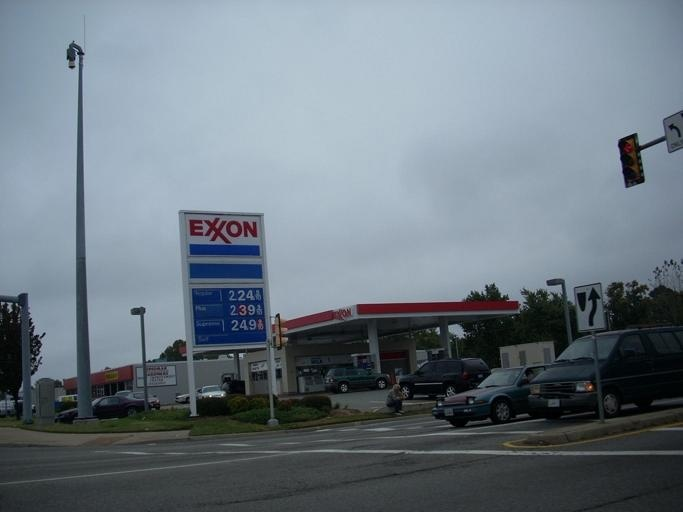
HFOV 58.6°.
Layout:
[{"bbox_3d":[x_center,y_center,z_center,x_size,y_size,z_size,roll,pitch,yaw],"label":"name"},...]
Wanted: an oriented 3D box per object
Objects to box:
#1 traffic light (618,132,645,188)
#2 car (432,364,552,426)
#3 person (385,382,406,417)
[{"bbox_3d":[9.102,-3.038,19.149,0.577,1.675,0.437,-8,-8,27],"label":"traffic light"},{"bbox_3d":[4.486,4.212,18.252,3.589,1.259,1.701,7,-19,-39],"label":"car"},{"bbox_3d":[2.390,6.489,27.761,0.631,1.358,1.977,-5,-8,1],"label":"person"}]
